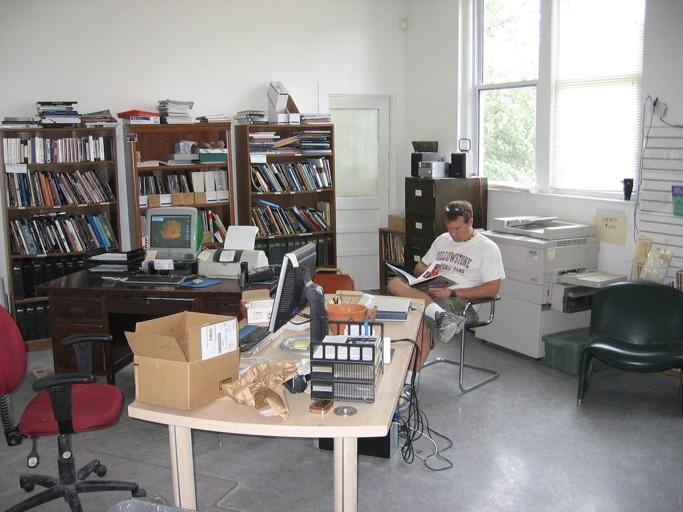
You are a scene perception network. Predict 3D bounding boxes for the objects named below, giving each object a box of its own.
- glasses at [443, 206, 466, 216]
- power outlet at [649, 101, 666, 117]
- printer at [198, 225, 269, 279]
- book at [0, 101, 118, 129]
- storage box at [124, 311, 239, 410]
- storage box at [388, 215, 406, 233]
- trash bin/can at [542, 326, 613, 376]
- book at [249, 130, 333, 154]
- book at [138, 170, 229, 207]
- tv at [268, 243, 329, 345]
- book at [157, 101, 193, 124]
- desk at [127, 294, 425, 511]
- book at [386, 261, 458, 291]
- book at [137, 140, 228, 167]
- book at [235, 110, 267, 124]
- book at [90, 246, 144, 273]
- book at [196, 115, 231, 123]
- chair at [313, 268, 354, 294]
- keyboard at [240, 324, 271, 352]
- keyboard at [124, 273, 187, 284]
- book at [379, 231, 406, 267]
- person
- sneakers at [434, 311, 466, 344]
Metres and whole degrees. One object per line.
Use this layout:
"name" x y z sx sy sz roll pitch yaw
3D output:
"glasses" 0.935 -0.370 4.450 0.105 0.034 0.100 10 -3 -44
"power outlet" 2.699 -1.261 4.557 0.129 0.124 0.031 21 16 38
"printer" -0.849 -0.027 4.408 0.701 0.495 0.391 1 6 19
"book" -2.858 -1.434 5.425 0.997 0.268 0.411 -7 15 -26
"storage box" -0.710 0.479 2.592 0.392 0.408 0.516 5 10 30
"storage box" 0.680 -0.415 6.698 0.198 0.236 0.361 -2 5 -19
"trash bin/can" 2.095 0.795 4.767 0.428 0.253 0.426 -3 6 -31
"book" -0.579 -1.323 6.210 0.984 0.266 0.274 -3 14 -11
"book" -1.731 -0.758 5.895 0.952 0.360 0.366 -5 15 -19
"tv" -0.262 0.237 3.168 0.299 0.593 0.600 5 8 13
"book" -1.797 -1.555 5.780 0.358 0.236 0.216 -4 15 -14
"desk" -0.245 0.876 2.875 1.158 0.880 1.213 3 14 14
"book" 0.588 0.177 3.984 0.367 0.126 0.279 -12 2 11
"book" -1.752 -1.138 5.895 0.959 0.253 0.413 -5 15 -18
"book" -1.005 -1.568 6.044 0.236 0.082 0.220 5 10 30
"book" -1.909 0.043 4.542 0.297 0.122 0.263 1 4 2
"book" -1.476 -1.510 5.898 0.480 0.081 0.235 5 15 21
"chair" -0.069 0.199 4.313 0.258 0.311 0.227 0 3 -5
"keyboard" -0.519 0.467 3.105 0.110 0.030 0.302 2 11 1
"keyboard" -1.472 0.176 4.219 0.492 0.050 0.201 4 14 18
"book" 0.643 -0.099 6.679 0.139 0.369 0.416 -8 9 -28
"person" 0.807 0.264 4.447 0.846 1.349 1.168 8 12 32
"sneakers" 0.821 0.530 4.078 0.164 0.190 0.286 -8 8 7
